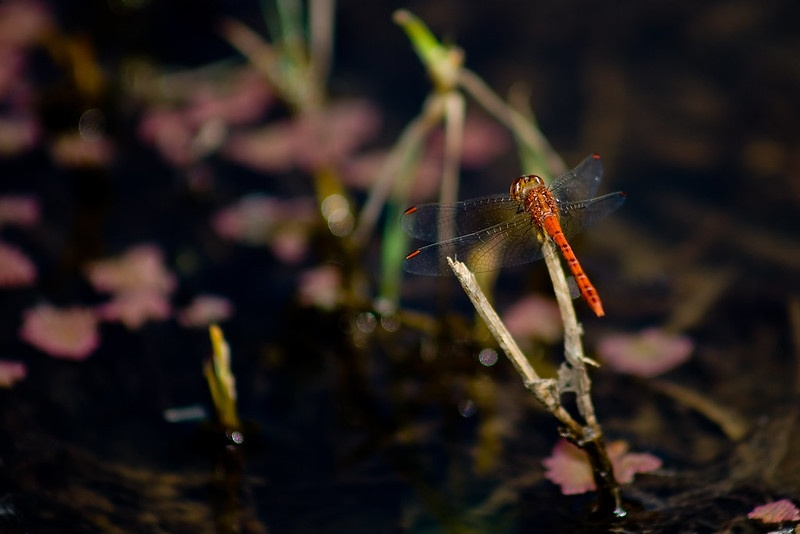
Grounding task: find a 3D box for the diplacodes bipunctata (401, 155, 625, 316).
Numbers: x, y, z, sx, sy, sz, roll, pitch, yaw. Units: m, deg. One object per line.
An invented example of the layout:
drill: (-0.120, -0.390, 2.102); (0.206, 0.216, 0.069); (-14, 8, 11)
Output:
diplacodes bipunctata: (0.128, -0.026, 1.004); (0.251, 0.179, 0.124); (-7, 0, 3)
